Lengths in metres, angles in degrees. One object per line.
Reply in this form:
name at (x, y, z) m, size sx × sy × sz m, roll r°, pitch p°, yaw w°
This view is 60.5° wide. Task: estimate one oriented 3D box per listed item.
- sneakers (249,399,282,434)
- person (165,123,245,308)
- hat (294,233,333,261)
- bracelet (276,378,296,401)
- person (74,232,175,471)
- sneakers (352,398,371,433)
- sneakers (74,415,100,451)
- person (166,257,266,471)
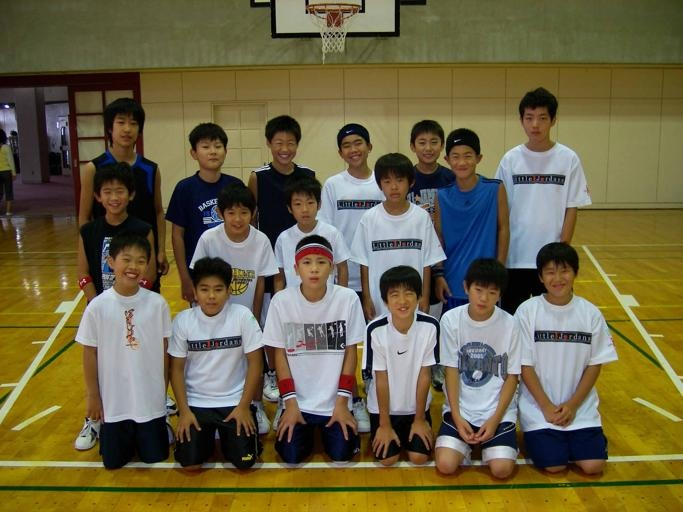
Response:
sneakers at (-0.460, 1.005, 3.629) m, size 0.100 × 0.128 × 0.309 m, roll 0°, pitch -2°, yaw -2°
person at (-0.912, -0.071, 4.156) m, size 0.666 × 1.703 × 0.399 m, roll -5°, pitch 15°, yaw -23°
hat at (-0.165, -0.055, 3.473) m, size 0.162 × 0.110 × 0.162 m, roll -1°, pitch 2°, yaw -30°
bracelet at (-0.315, 0.804, 3.518) m, size 0.106 × 0.122 × 0.110 m, roll -15°, pitch -24°, yaw 12°
person at (-1.221, 0.567, 3.378) m, size 0.500 × 1.340 × 0.389 m, roll -2°, pitch 9°, yaw -25°
sneakers at (0.122, 1.008, 3.665) m, size 0.072 × 0.092 × 0.221 m, roll -2°, pitch 7°, yaw -7°
sneakers at (-1.507, 1.075, 3.558) m, size 0.112 × 0.129 × 0.295 m, roll 2°, pitch 4°, yaw -8°
person at (-0.718, 0.608, 3.372) m, size 0.541 × 1.135 × 0.471 m, roll -2°, pitch 12°, yaw -10°
